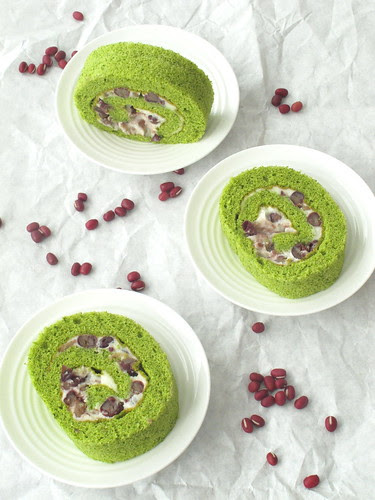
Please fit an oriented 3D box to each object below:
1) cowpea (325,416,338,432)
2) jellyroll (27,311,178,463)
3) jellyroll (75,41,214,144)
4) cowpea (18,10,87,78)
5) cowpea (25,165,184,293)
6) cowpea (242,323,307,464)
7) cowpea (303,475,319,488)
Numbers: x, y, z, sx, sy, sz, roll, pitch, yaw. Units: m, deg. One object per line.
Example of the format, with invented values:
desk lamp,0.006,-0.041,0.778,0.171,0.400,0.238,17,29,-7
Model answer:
cowpea,0.486,0.590,1.791,0.050,0.020,0.049,-1,88,1
jellyroll,-0.262,0.426,1.743,0.402,0.157,0.524,-33,61,-11
jellyroll,-0.167,-0.636,2.159,0.538,0.358,0.234,10,66,14
cowpea,-0.677,-0.933,2.527,0.311,0.357,0.168,-25,48,-22
cowpea,-0.363,-0.114,2.211,0.403,0.492,0.744,21,41,28
cowpea,0.315,0.498,1.862,0.222,0.093,0.494,5,60,11
cowpea,0.405,0.755,1.723,0.053,0.026,0.035,-29,72,-7
